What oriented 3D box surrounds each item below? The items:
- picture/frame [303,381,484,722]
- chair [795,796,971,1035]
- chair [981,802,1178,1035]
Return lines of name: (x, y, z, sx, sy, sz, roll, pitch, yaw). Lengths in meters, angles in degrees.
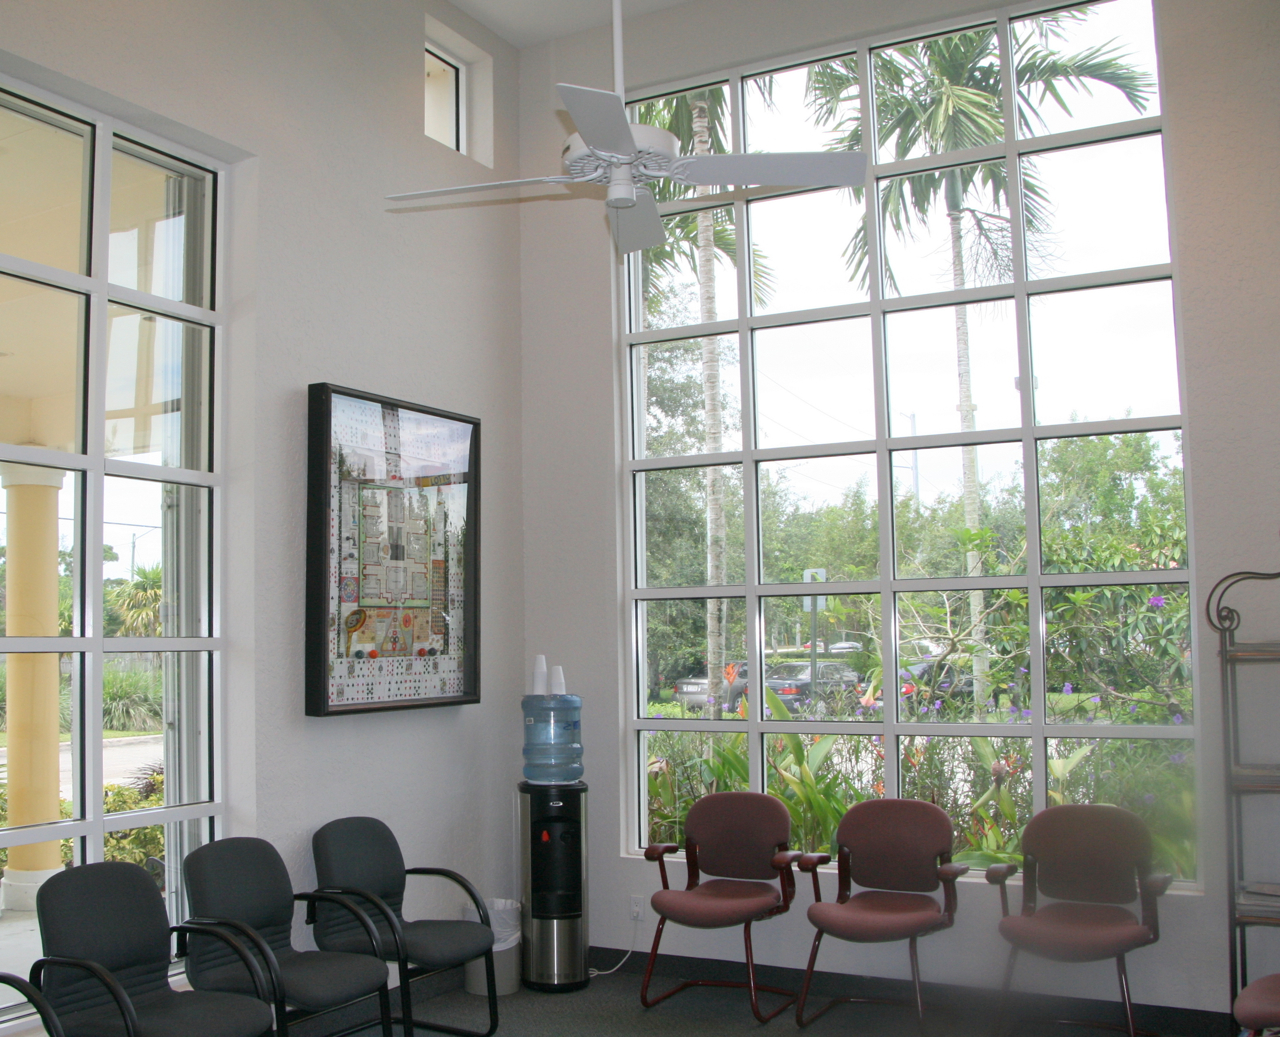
picture/frame: (-1.314, 0.188, 5.769, 0.155, 1.668, 1.167, -2, -4, 34)
chair: (1.295, 1.918, 5.489, 1.063, 1.455, 0.959, -5, -21, 21)
chair: (2.085, 1.941, 5.089, 0.788, 1.062, 0.738, -2, -3, 26)
